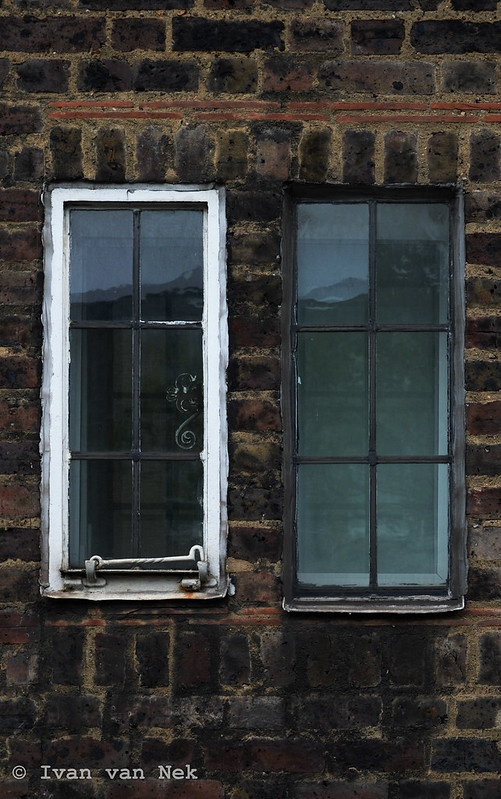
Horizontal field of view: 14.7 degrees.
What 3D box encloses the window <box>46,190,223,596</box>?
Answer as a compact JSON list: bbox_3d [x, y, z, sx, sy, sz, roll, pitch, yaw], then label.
[{"bbox_3d":[-0.377,-0.026,6.153,0.597,1.309,0.270,0,-8,-8],"label":"window"}]
